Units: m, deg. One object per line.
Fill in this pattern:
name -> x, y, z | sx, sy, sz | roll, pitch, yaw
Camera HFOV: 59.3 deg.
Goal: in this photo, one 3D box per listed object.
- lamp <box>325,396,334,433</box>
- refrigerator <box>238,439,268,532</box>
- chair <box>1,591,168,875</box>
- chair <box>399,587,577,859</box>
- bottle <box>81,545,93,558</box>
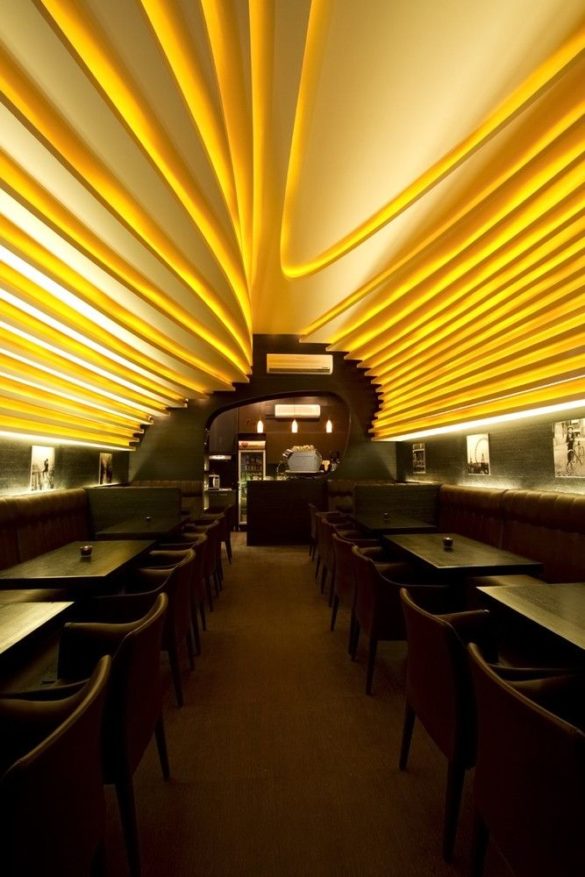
lamp -> 0.662, -0.285, 9.293 | 0.141, 0.424, 0.318 | 0, 0, 3
refrigerator -> -0.721, 0.807, 9.282 | 0.491, 1.542, 0.657 | 0, 0, -4
chair -> -0.630, 0.999, 2.130 | 0.548, 1.161, 0.808 | 0, -17, -2
chair -> 0.673, 1.033, 2.278 | 0.624, 1.324, 0.858 | -1, -5, -5
bottle -> -1.207, 0.668, 3.043 | 0.062, 0.083, 0.062 | 2, 6, 0
